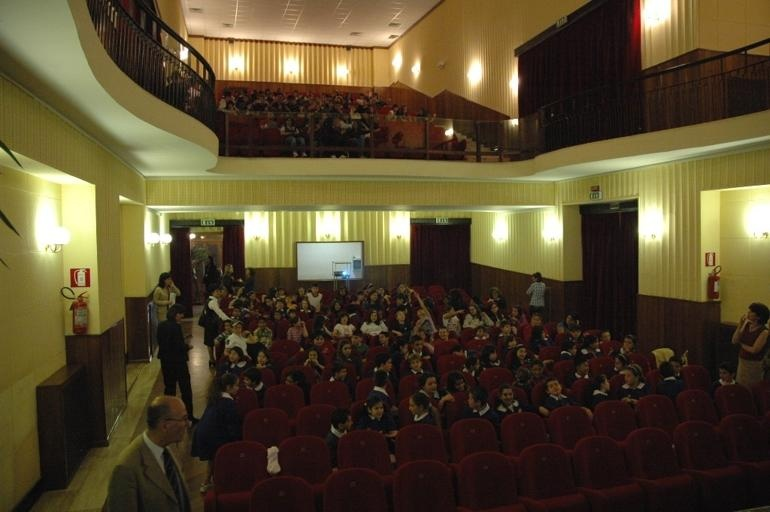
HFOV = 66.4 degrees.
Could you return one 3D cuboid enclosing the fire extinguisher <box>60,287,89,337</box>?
[{"bbox_3d":[-5.247,0.902,10.003,0.445,0.802,0.202,1,19,-26],"label":"fire extinguisher"}]
